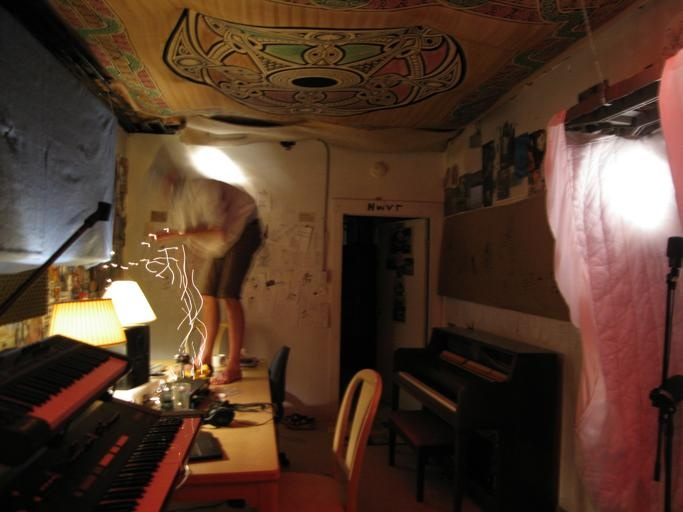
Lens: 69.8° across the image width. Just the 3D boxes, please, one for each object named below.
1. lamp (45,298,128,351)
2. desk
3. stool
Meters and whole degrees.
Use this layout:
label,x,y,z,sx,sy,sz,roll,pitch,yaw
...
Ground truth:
label,x,y,z,sx,sy,sz,roll,pitch,yaw
lamp,-1.523,0.386,2.909,0.435,0.247,0.428,-3,1,22
desk,-0.745,0.901,2.530,0.772,0.286,1.286,1,4,-4
stool,0.616,1.518,3.671,0.421,0.452,0.718,3,-1,-8
